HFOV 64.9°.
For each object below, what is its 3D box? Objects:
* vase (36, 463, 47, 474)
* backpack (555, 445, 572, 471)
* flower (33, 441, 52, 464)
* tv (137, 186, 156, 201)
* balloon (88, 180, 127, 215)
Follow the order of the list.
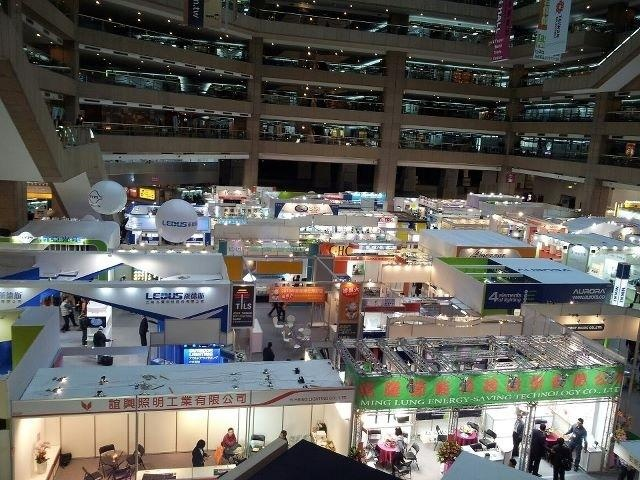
[{"bbox_3d":[-4.909,4.019,8.945,0.159,0.162,0.170,1,-3,4],"label":"vase"},{"bbox_3d":[4.631,4.113,9.539,0.379,0.526,0.117,-4,9,-21],"label":"backpack"},{"bbox_3d":[-5.025,3.810,9.139,0.182,0.339,0.630,-4,9,-22],"label":"flower"},{"bbox_3d":[-9.939,-2.668,29.136,0.629,0.759,2.132,-3,9,-39],"label":"tv"},{"bbox_3d":[-7.082,-1.494,16.869,1.323,1.371,1.296,0,10,1],"label":"balloon"}]
